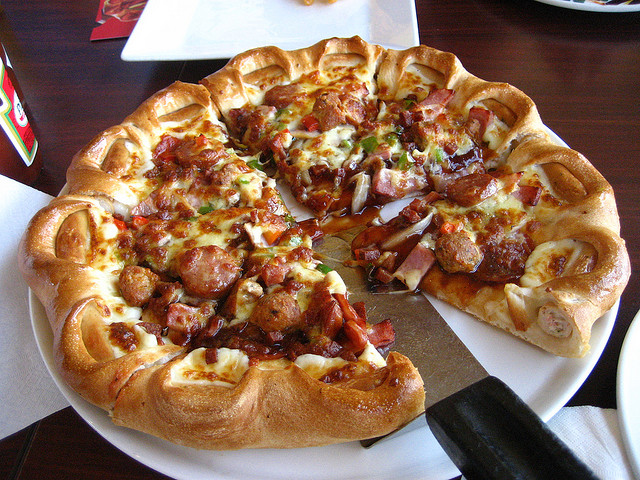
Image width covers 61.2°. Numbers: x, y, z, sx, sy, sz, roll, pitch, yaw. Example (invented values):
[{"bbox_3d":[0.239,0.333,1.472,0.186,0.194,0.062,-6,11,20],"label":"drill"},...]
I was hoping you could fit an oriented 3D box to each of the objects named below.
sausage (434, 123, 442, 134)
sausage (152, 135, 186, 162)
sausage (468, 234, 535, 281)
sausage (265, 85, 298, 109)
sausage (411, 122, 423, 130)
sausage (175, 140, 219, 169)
[{"bbox_3d":[0.585,-0.549,2.658,0.046,0.013,0.051,6,64,0],"label":"sausage"},{"bbox_3d":[-0.755,-0.458,2.686,0.149,0.041,0.124,-1,59,-1],"label":"sausage"},{"bbox_3d":[0.757,0.091,2.251,0.222,0.056,0.166,-32,47,-11],"label":"sausage"},{"bbox_3d":[-0.214,-0.772,2.888,0.151,0.044,0.144,31,71,16],"label":"sausage"},{"bbox_3d":[0.472,-0.564,2.674,0.041,0.011,0.043,-46,41,-18],"label":"sausage"},{"bbox_3d":[-0.601,-0.403,2.602,0.163,0.048,0.162,-41,70,-19],"label":"sausage"}]
